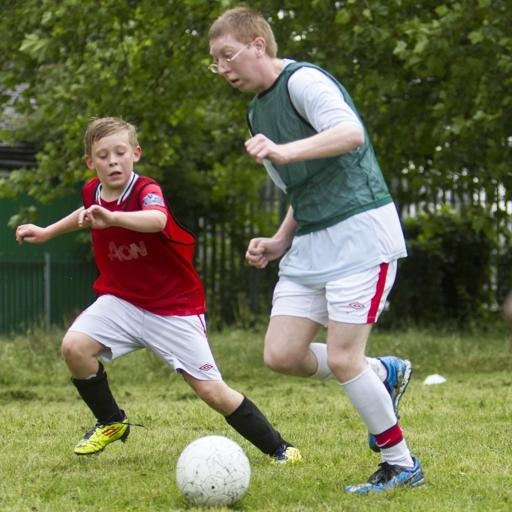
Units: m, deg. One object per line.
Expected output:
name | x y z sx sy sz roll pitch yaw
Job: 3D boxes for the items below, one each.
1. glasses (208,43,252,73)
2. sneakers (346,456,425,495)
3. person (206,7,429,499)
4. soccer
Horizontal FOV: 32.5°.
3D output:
glasses | -0.141 -1.033 4.586 0.160 0.048 0.155 -42 13 -16
sneakers | 0.683 1.154 4.613 0.436 0.163 0.151 -5 -12 -7
person | 0.317 -0.063 4.625 1.007 2.572 1.029 -1 2 14
soccer | -0.241 1.118 4.442 0.339 0.323 0.314 2 -33 -9
